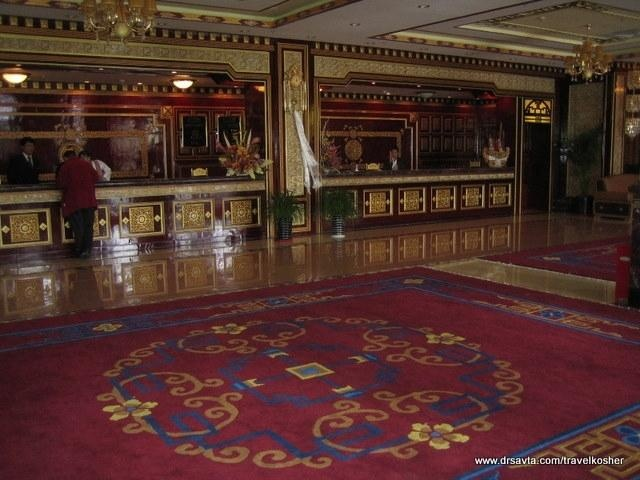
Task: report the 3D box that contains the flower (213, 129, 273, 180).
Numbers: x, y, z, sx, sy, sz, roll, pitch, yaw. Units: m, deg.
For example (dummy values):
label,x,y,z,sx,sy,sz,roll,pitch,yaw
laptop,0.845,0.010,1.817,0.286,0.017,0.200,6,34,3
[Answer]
label,x,y,z,sx,sy,sz,roll,pitch,yaw
flower,-1.731,-1.980,10.356,1.504,1.501,0.725,0,-19,-6

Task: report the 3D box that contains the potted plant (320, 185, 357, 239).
label,x,y,z,sx,sy,sz,roll,pitch,yaw
potted plant,0.354,-0.628,10.361,0.747,0.945,0.631,-6,-9,18

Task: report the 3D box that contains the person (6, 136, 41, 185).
label,x,y,z,sx,sy,sz,roll,pitch,yaw
person,-6.266,-1.652,9.350,0.580,0.941,0.799,-8,13,-35

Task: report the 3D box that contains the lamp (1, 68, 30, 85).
label,x,y,z,sx,sy,sz,roll,pitch,yaw
lamp,-7.079,-3.772,10.441,0.630,0.188,0.580,-1,3,-10

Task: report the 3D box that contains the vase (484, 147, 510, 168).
label,x,y,z,sx,sy,sz,roll,pitch,yaw
vase,5.282,-2.434,13.405,0.775,0.504,0.658,1,6,5

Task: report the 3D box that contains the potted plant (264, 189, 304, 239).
label,x,y,z,sx,sy,sz,roll,pitch,yaw
potted plant,-0.831,-0.520,9.870,0.662,0.977,0.430,6,13,35

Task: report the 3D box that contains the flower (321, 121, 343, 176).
label,x,y,z,sx,sy,sz,roll,pitch,yaw
flower,0.192,-2.308,11.326,0.520,1.128,0.496,-16,-16,38

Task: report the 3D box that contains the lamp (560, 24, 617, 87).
label,x,y,z,sx,sy,sz,roll,pitch,yaw
lamp,5.756,-3.825,9.584,0.864,0.838,0.897,8,14,41
